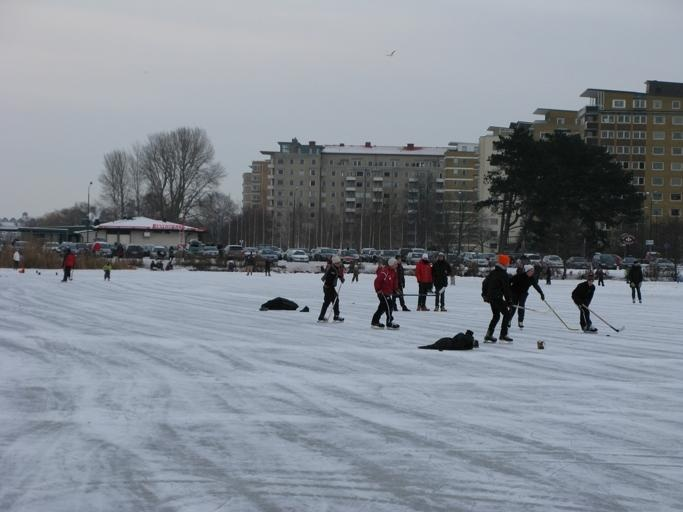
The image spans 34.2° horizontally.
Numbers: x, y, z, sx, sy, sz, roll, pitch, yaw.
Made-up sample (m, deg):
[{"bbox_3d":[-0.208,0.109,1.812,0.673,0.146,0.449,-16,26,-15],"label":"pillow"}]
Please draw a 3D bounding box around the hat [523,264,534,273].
[{"bbox_3d":[4.501,0.299,26.443,0.195,0.172,0.148,1,5,41],"label":"hat"}]

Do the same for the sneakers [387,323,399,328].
[{"bbox_3d":[1.244,1.697,26.936,0.245,0.149,0.129,-2,2,11],"label":"sneakers"}]

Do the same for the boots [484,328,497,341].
[{"bbox_3d":[3.373,1.757,24.961,0.286,0.289,0.452,1,7,8],"label":"boots"}]

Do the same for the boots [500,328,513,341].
[{"bbox_3d":[3.751,1.721,25.111,0.304,0.400,0.542,2,7,8],"label":"boots"}]

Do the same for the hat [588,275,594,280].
[{"bbox_3d":[6.167,0.529,27.204,0.164,0.188,0.167,-1,3,0],"label":"hat"}]

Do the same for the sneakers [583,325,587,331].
[{"bbox_3d":[5.968,1.769,27.136,0.143,0.142,0.077,2,4,-10],"label":"sneakers"}]

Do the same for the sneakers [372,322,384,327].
[{"bbox_3d":[0.902,1.668,27.016,0.282,0.131,0.131,0,5,-11],"label":"sneakers"}]

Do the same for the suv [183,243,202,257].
[{"bbox_3d":[-10.389,-0.412,78.036,1.002,0.817,1.756,0,-2,-8],"label":"suv"}]

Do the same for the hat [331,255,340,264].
[{"bbox_3d":[-0.136,0.101,27.218,0.207,0.205,0.159,-12,8,8],"label":"hat"}]

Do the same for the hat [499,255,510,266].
[{"bbox_3d":[3.762,0.094,25.496,0.273,0.258,0.203,-19,23,-36],"label":"hat"}]

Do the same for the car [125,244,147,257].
[{"bbox_3d":[-13.391,-0.099,71.692,1.059,0.801,1.646,-1,7,-16],"label":"car"}]
